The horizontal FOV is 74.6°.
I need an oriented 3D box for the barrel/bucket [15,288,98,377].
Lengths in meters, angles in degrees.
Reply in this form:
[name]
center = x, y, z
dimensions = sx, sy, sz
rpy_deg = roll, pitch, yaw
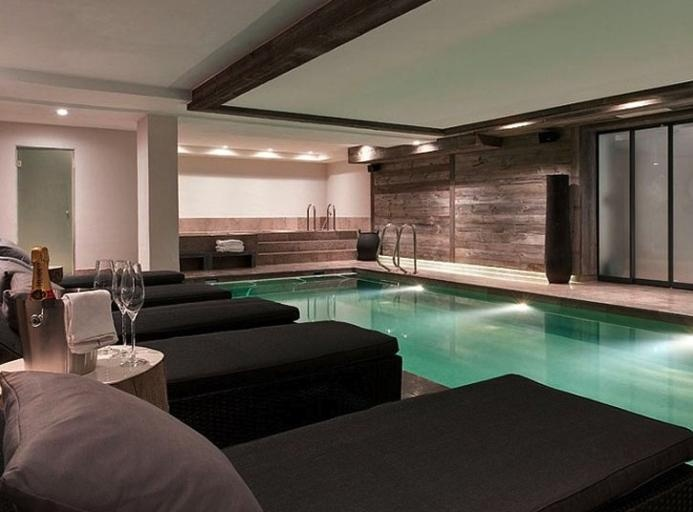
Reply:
[barrel/bucket]
center = -0.860, 0.234, 1.359
dimensions = 0.158, 0.270, 0.277
rpy_deg = -2, -4, 4
